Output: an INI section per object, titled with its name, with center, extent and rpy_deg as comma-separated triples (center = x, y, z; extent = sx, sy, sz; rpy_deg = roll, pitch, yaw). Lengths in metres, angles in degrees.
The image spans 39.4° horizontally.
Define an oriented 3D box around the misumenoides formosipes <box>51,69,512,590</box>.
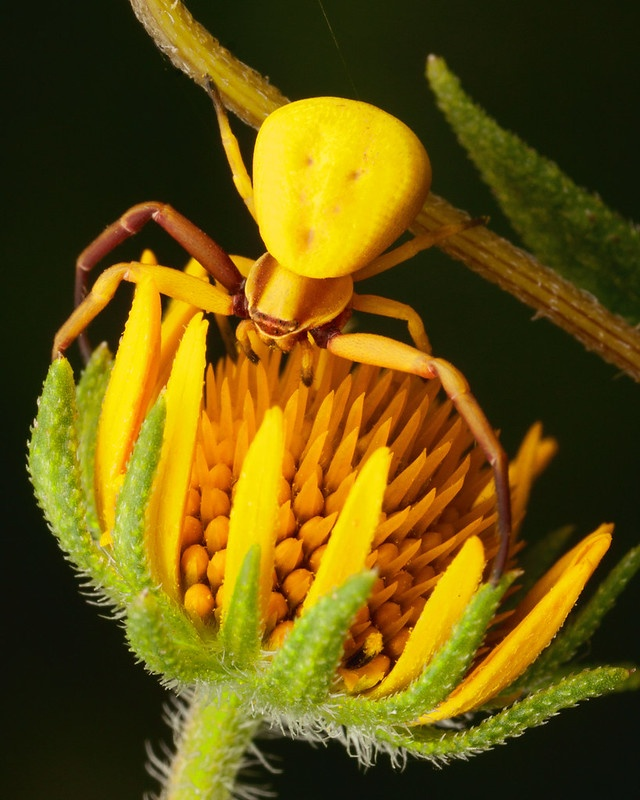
[misumenoides formosipes]
center = -0.071, -0.091, 0.663
extent = 0.367, 0.144, 0.353
rpy_deg = -38, 8, 39
